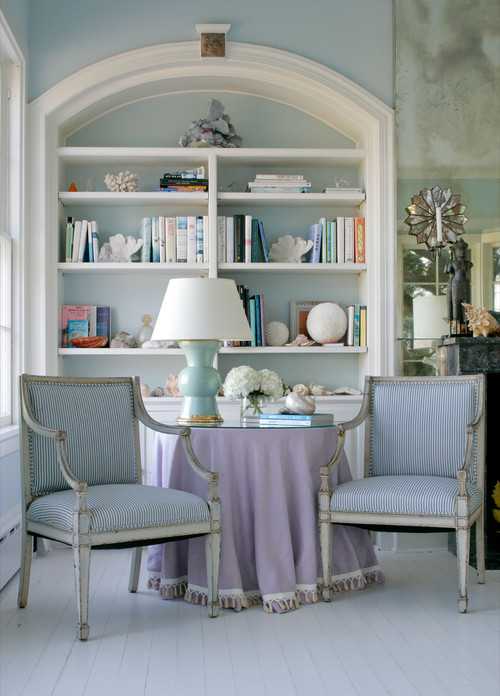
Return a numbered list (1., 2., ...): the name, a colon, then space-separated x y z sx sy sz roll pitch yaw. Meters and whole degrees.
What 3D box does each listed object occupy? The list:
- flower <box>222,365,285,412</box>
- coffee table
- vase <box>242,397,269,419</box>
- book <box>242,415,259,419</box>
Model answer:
1. flower: 0.007 0.190 2.735 0.211 0.200 0.204 2 -7 -13
2. coffee table: 0.041 0.620 2.522 0.709 0.488 0.737 -4 -5 32
3. vase: 0.017 0.257 2.739 0.106 0.119 0.106 1 -10 4
4. book: 0.004 0.277 2.540 0.031 0.014 0.098 2 -6 -24
